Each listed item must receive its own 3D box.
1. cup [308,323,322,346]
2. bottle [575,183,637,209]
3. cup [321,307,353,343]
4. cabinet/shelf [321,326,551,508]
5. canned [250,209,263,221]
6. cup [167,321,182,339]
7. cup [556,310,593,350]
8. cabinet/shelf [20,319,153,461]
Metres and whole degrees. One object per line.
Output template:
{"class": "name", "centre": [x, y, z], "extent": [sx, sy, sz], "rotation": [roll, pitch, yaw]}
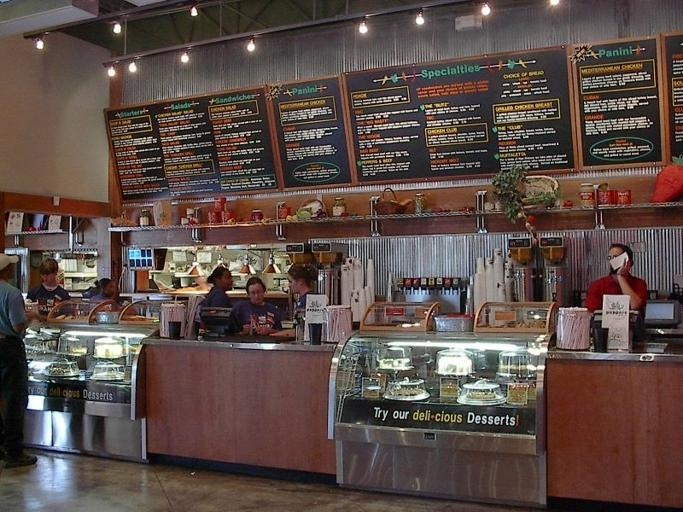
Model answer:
{"class": "cup", "centre": [-0.199, 0.597, 4.664], "extent": [0.143, 0.150, 0.138], "rotation": [2, -3, 0]}
{"class": "bottle", "centre": [2.551, -0.579, 5.883], "extent": [0.441, 0.290, 0.241], "rotation": [2, 4, 29]}
{"class": "cup", "centre": [-0.030, 0.523, 4.706], "extent": [0.266, 0.319, 0.267], "rotation": [1, 0, 0]}
{"class": "cabinet/shelf", "centre": [0.889, 1.021, 4.779], "extent": [1.733, 1.223, 1.186], "rotation": [-1, -3, 19]}
{"class": "canned", "centre": [-0.987, -0.474, 7.143], "extent": [0.132, 0.118, 0.129], "rotation": [-6, 8, -43]}
{"class": "cup", "centre": [-1.402, 0.617, 5.086], "extent": [0.141, 0.155, 0.136], "rotation": [0, 0, 0]}
{"class": "cup", "centre": [1.645, 0.511, 4.266], "extent": [0.241, 0.290, 0.177], "rotation": [0, -6, 12]}
{"class": "cabinet/shelf", "centre": [-2.288, 1.160, 5.580], "extent": [1.380, 1.147, 0.622], "rotation": [0, 0, 16]}
